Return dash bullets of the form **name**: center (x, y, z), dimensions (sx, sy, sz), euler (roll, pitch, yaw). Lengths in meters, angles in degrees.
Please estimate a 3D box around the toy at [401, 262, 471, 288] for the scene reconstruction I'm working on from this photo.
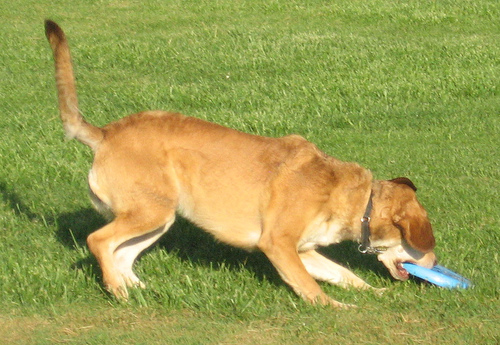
- **toy**: center (2.811, 1.502, 13.855), dimensions (1.040, 0.207, 0.403), euler (11, 33, 22)
